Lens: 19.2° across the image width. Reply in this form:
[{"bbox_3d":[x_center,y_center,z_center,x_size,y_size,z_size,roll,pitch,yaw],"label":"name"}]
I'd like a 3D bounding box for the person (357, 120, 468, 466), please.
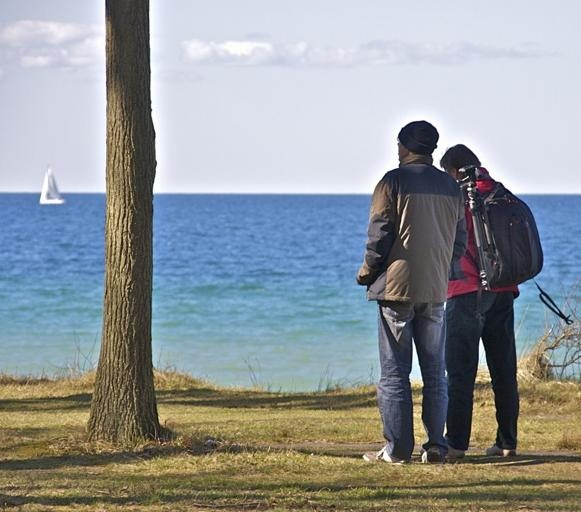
[{"bbox_3d":[1.671,0.793,23.824,1.369,4.102,0.454,-1,3,4],"label":"person"}]

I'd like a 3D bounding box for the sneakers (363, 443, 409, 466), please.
[{"bbox_3d":[1.333,2.716,23.968,0.559,0.266,0.262,6,5,30],"label":"sneakers"}]

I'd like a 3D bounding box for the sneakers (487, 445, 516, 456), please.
[{"bbox_3d":[2.967,2.719,24.267,0.408,0.190,0.152,10,10,41],"label":"sneakers"}]
